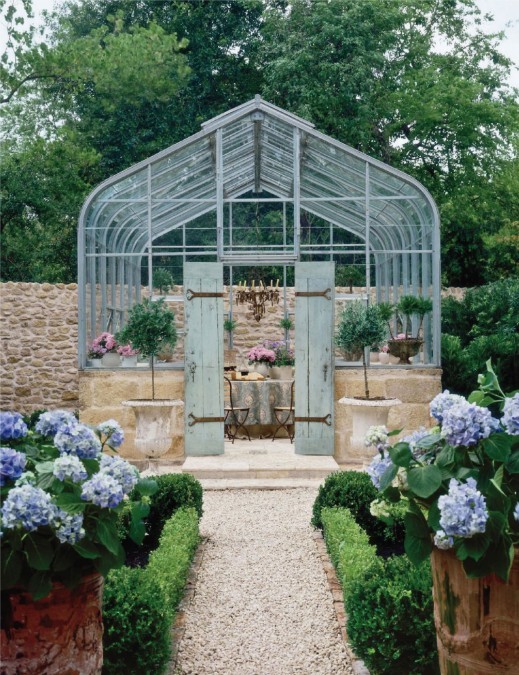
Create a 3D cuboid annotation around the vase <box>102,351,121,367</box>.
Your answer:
[{"bbox_3d":[-1.835,0.264,8.952,0.187,0.149,0.184,1,-7,-5],"label":"vase"}]

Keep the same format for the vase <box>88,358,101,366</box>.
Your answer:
[{"bbox_3d":[-2.038,0.300,8.967,0.164,0.091,0.114,-1,-2,1],"label":"vase"}]

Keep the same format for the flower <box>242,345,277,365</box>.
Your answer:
[{"bbox_3d":[0.012,0.252,10.723,0.313,0.223,0.311,1,-1,-12],"label":"flower"}]

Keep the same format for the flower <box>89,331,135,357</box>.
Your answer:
[{"bbox_3d":[-1.799,0.112,8.817,0.446,0.287,0.347,3,2,24],"label":"flower"}]
